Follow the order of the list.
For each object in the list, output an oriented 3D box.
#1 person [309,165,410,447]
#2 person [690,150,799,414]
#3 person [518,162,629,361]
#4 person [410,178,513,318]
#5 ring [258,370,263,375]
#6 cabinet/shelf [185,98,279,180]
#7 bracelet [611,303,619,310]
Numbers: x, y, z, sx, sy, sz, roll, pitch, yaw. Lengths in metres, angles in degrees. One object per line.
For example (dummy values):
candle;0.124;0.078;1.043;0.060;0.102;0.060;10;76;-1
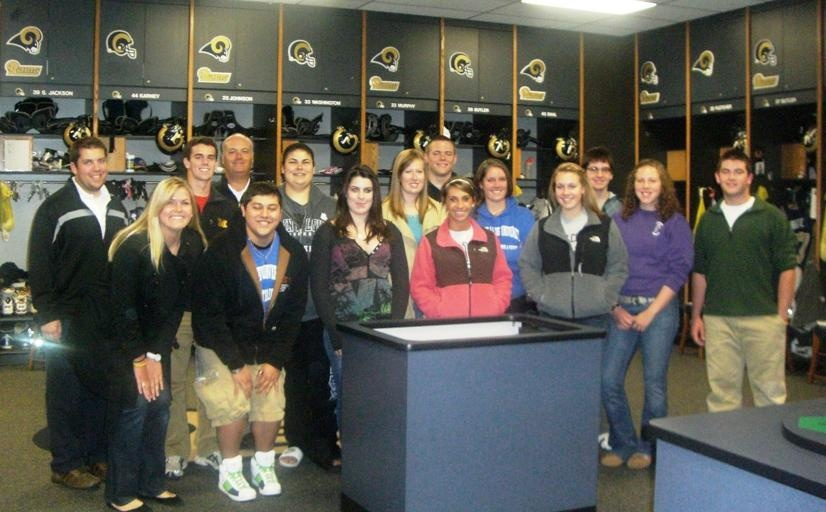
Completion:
person;-0.391;0.006;5.109;0.714;1.289;0.390;-3;12;-12
person;2.583;0.227;5.485;0.757;2.057;0.611;5;13;23
person;1.226;-0.101;5.319;0.808;1.127;0.348;2;12;7
person;0.365;0.080;5.221;0.736;0.695;0.402;1;12;5
ring;-1.099;0.828;5.009;0.027;0.035;0.009;-2;-23;20
cabinet/shelf;-2.096;-1.547;8.712;1.371;1.165;0.952;0;1;-28
bracelet;1.557;0.383;5.347;0.035;0.045;0.163;31;11;31
